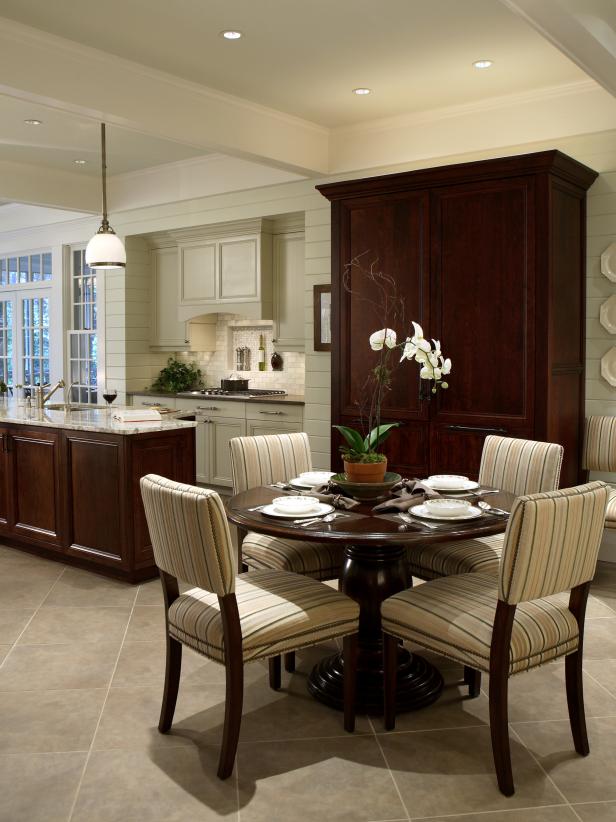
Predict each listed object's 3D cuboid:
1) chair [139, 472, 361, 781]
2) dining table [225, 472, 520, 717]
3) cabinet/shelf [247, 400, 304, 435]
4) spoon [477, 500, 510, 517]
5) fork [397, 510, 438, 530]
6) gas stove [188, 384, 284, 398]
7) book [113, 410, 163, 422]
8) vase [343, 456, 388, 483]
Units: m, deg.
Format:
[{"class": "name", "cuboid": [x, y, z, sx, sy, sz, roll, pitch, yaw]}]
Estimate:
[{"class": "chair", "cuboid": [-0.196, 0.580, 1.836, 0.520, 0.790, 0.477, 1, -1, -40]}, {"class": "dining table", "cuboid": [0.208, 0.558, 2.112, 0.801, 0.496, 0.789, -1, 3, -9]}, {"class": "cabinet/shelf", "cuboid": [-0.265, 0.057, 5.266, 0.148, 0.277, 0.683, 1, -1, -41]}, {"class": "spoon", "cuboid": [0.587, 0.308, 2.018, 0.031, 0.017, 0.127, -3, 4, -18]}, {"class": "fork", "cuboid": [0.322, 0.314, 1.879, 0.031, 0.022, 0.184, -6, 5, -13]}, {"class": "gas stove", "cuboid": [-0.728, -0.218, 5.978, 0.661, 0.173, 0.912, 1, -1, -42]}, {"class": "book", "cuboid": [-0.989, 0.029, 3.692, 0.243, 0.075, 0.270, 0, -1, -26]}, {"class": "vase", "cuboid": [0.202, 0.198, 2.278, 0.105, 0.064, 0.105, 1, 2, 41]}]
